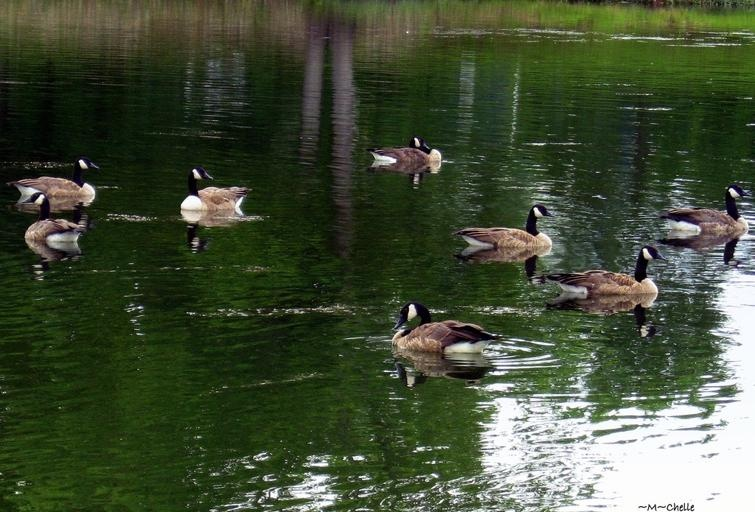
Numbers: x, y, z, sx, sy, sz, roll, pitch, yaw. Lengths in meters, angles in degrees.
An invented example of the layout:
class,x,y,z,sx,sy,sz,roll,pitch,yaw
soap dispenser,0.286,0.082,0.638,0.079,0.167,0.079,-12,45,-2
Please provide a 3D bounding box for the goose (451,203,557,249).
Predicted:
class,x,y,z,sx,sy,sz,roll,pitch,yaw
goose,4.317,-0.780,34.838,3.422,1.081,1.451,-9,15,-41

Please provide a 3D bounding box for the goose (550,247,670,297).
class,x,y,z,sx,sy,sz,roll,pitch,yaw
goose,6.639,0.481,30.308,3.431,1.369,0.904,-5,15,-23

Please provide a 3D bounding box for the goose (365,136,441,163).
class,x,y,z,sx,sy,sz,roll,pitch,yaw
goose,1.066,-4.835,48.141,4.088,1.123,1.245,-1,2,-7

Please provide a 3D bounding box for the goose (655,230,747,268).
class,x,y,z,sx,sy,sz,roll,pitch,yaw
goose,11.262,-0.430,36.597,2.592,0.486,4.458,3,9,18

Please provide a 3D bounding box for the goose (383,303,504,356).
class,x,y,z,sx,sy,sz,roll,pitch,yaw
goose,1.590,1.863,26.116,1.400,1.214,2.605,-11,15,-40
